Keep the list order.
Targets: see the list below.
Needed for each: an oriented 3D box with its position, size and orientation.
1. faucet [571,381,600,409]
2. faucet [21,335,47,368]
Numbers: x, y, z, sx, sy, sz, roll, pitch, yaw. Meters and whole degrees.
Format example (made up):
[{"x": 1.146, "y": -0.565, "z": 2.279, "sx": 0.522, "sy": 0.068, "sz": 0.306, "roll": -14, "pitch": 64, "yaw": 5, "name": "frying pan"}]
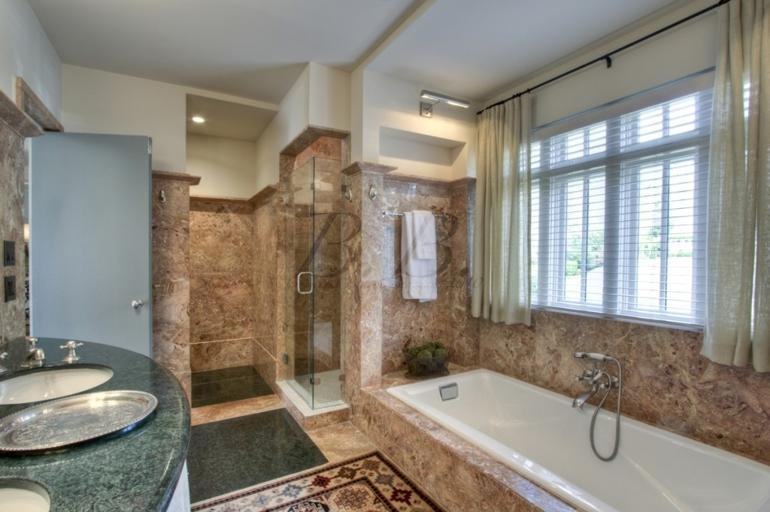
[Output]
[{"x": 1.588, "y": 1.050, "z": 3.932, "sx": 0.108, "sy": 0.140, "sz": 0.464, "roll": -3, "pitch": 9, "yaw": 43, "name": "faucet"}, {"x": -2.177, "y": 0.613, "z": 3.110, "sx": 0.091, "sy": 0.194, "sz": 0.144, "roll": 2, "pitch": 20, "yaw": -6, "name": "faucet"}]
